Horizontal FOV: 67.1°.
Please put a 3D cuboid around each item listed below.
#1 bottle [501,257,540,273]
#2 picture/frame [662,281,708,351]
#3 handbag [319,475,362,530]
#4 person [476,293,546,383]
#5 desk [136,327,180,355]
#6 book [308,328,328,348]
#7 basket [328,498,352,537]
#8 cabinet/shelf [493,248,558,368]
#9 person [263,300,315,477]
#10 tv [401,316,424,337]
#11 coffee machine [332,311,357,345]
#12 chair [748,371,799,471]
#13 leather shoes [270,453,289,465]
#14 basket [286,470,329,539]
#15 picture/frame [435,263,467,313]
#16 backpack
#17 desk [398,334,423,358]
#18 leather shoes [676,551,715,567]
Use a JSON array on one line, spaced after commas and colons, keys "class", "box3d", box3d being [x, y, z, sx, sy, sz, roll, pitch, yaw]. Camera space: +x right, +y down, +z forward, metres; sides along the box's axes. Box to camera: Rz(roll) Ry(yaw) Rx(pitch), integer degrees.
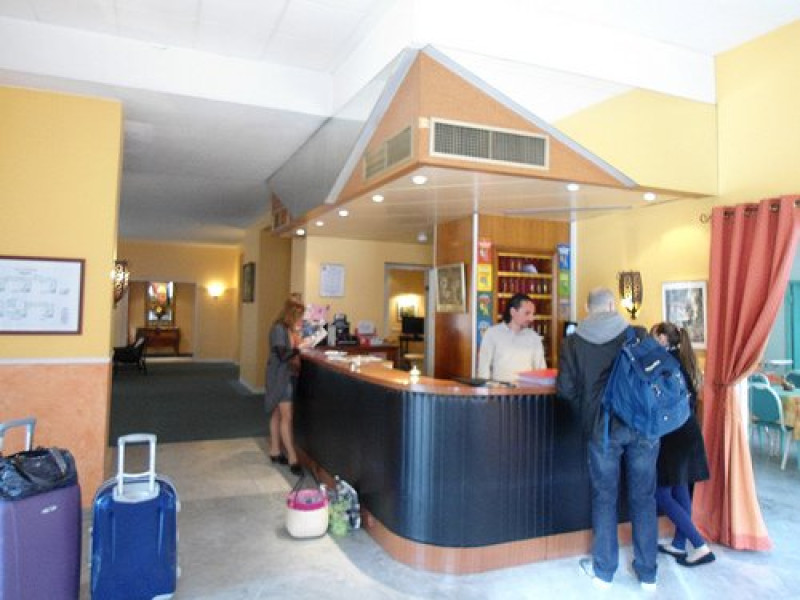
[{"class": "bottle", "box3d": [1.469, -0.413, 7.348, 0.524, 0.205, 0.181, -4, 3, -26]}, {"class": "picture/frame", "box3d": [2.678, 0.156, 5.631, 0.066, 0.747, 0.519, 8, -13, -18]}, {"class": "handbag", "box3d": [-0.563, 1.802, 5.248, 0.370, 0.434, 0.280, 2, 5, -30]}, {"class": "person", "box3d": [1.123, 0.439, 5.988, 0.679, 1.054, 0.370, -1, 21, -2]}, {"class": "desk", "box3d": [-6.976, 1.158, 17.302, 0.793, 0.593, 0.289, 1, -2, -33]}, {"class": "book", "box3d": [-1.027, 0.497, 7.819, 0.082, 0.278, 0.279, 38, 24, 6]}, {"class": "basket", "box3d": [-0.526, 1.853, 5.133, 0.180, 0.264, 0.113, -2, 3, -1]}, {"class": "cabinet/shelf", "box3d": [1.560, 0.077, 7.500, 0.725, 1.535, 0.402, 1, 21, 14]}, {"class": "person", "box3d": [-1.283, 0.939, 6.800, 0.462, 1.851, 0.830, -2, 3, -13]}, {"class": "tv", "box3d": [0.253, 0.575, 12.632, 0.328, 0.334, 0.114, 3, 8, 19]}, {"class": "coffee machine", "box3d": [-0.844, 0.451, 8.845, 0.340, 0.500, 0.416, 2, -8, -28]}, {"class": "chair", "box3d": [4.634, 1.445, 7.493, 0.511, 1.059, 1.355, 0, 3, 30]}, {"class": "leather shoes", "box3d": [-1.345, 1.805, 6.824, 0.245, 0.111, 0.085, 3, -1, 5]}, {"class": "basket", "box3d": [-0.777, 1.765, 5.107, 0.326, 0.438, 0.335, -4, -6, 31]}, {"class": "picture/frame", "box3d": [0.612, -0.130, 7.460, 0.036, 0.574, 0.729, -3, 1, 32]}, {"class": "backpack", "box3d": [1.765, 0.588, 4.468, 0.435, 0.671, 0.626, -17, 20, -27]}, {"class": "desk", "box3d": [0.233, 1.003, 13.128, 0.416, 0.540, 0.542, 3, -4, -15]}, {"class": "leather shoes", "box3d": [2.311, 2.021, 4.702, 0.226, 0.089, 0.132, 2, -5, 11]}]
